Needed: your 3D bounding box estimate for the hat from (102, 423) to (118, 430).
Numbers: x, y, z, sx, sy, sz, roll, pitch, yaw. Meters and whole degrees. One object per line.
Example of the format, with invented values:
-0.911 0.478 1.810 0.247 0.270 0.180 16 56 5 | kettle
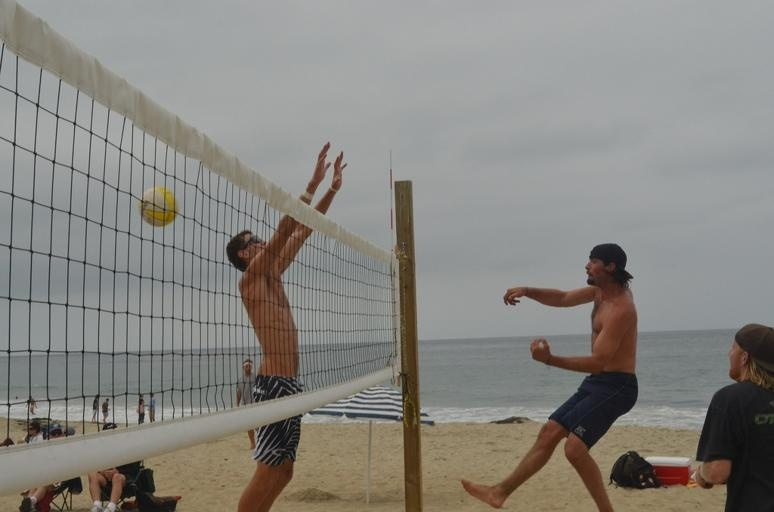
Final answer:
-20.064 12.351 63.671 0.720 0.368 0.999 2 -5 -12 | hat
